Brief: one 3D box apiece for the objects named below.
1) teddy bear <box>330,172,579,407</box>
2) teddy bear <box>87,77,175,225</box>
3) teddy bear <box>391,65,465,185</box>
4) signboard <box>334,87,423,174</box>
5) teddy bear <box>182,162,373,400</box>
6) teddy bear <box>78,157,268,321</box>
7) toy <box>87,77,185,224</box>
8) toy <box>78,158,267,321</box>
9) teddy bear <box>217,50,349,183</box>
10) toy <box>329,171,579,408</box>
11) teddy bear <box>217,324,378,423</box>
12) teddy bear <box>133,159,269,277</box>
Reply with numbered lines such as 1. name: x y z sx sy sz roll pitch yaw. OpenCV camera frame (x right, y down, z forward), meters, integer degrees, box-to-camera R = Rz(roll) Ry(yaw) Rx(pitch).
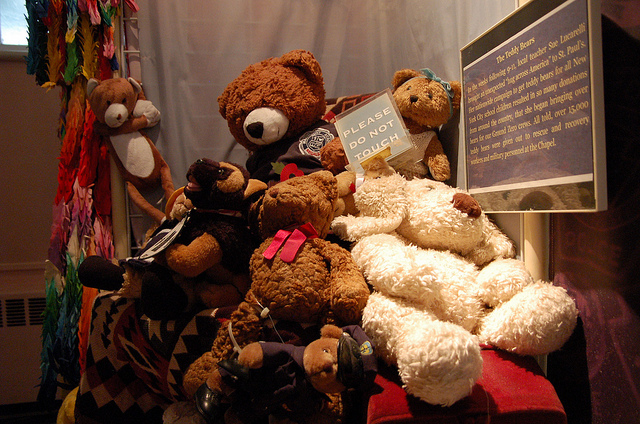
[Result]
1. teddy bear: 0.428 0.188 1.856 0.634 0.485 0.994 -8 31 -12
2. teddy bear: -0.885 -0.265 2.327 0.238 0.604 0.266 -27 1 -41
3. teddy bear: 0.425 -0.346 2.011 0.264 0.439 0.275 -2 13 10
4. signboard: 0.205 -0.299 1.980 0.297 0.312 0.067 -31 -28 14
5. teddy bear: -0.138 0.239 1.736 0.566 0.767 0.311 -2 -11 2
6. teddy bear: -0.510 0.078 1.891 0.432 0.609 0.488 -1 -14 36
7. toy: -0.865 -0.276 2.326 0.236 0.600 0.264 -32 4 -38
8. toy: -0.516 0.081 1.900 0.585 0.607 0.422 11 -9 -30
9. teddy bear: -0.179 -0.401 2.168 0.461 0.492 0.364 -25 -21 16
10. toy: 0.442 0.173 1.864 0.616 0.459 0.977 -8 31 -13
11. teddy bear: -0.057 0.495 1.556 0.390 0.277 0.178 -2 35 23
12. teddy bear: -0.456 0.019 1.856 0.458 0.485 0.324 2 13 -38
